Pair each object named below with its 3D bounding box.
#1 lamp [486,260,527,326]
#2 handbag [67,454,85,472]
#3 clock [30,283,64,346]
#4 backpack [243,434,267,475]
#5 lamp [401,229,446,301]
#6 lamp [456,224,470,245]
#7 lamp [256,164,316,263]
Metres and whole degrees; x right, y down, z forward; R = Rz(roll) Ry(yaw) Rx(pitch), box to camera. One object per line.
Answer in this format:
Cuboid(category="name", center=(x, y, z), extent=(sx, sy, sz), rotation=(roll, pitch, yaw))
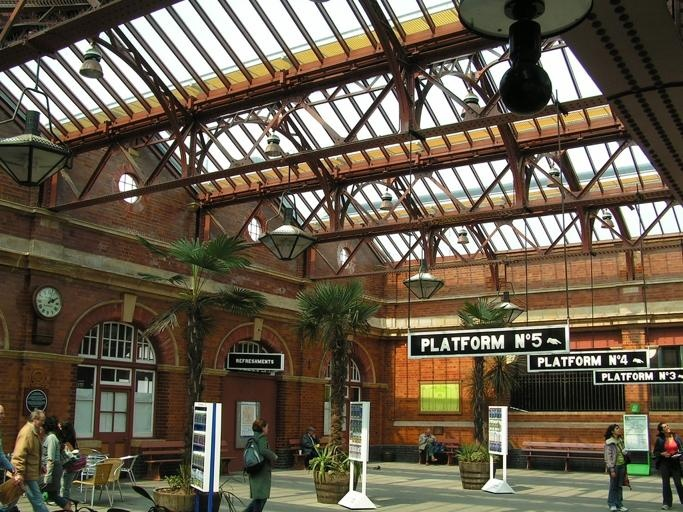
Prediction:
Cuboid(category="lamp", center=(4.970, 1.136, 22.436), extent=(0.845, 1.612, 0.836), rotation=(0, -6, -23))
Cuboid(category="handbag", center=(-4.799, 3.679, 13.162), extent=(0.285, 0.293, 0.365), rotation=(-3, -4, 1))
Cuboid(category="clock", center=(-7.144, 1.401, 17.692), extent=(0.264, 1.413, 0.798), rotation=(-7, -17, 23))
Cuboid(category="backpack", center=(-1.445, 3.249, 11.991), extent=(0.323, 0.580, 0.418), rotation=(8, -31, -34))
Cuboid(category="lamp", center=(1.919, 0.192, 17.630), extent=(0.984, 1.819, 1.070), rotation=(2, -20, -4))
Cuboid(category="lamp", center=(3.963, -0.724, 24.398), extent=(0.478, 0.589, 0.487), rotation=(-2, -22, 13))
Cuboid(category="lamp", center=(-1.317, -0.603, 15.521), extent=(1.370, 2.342, 1.371), rotation=(1, -8, -20))
